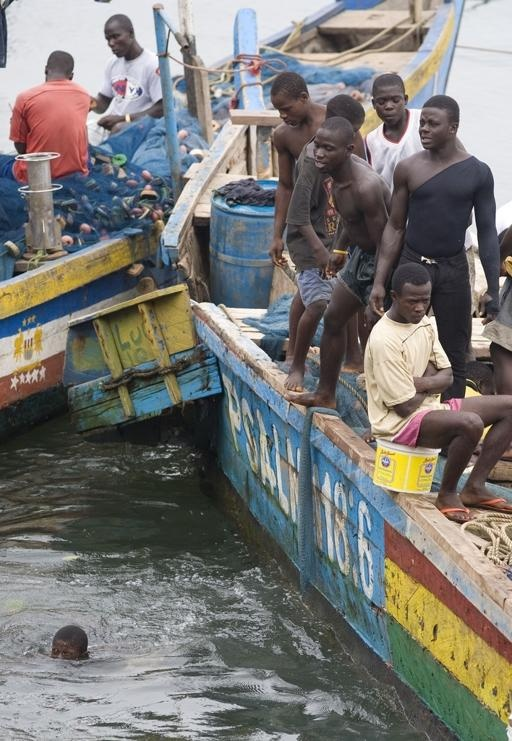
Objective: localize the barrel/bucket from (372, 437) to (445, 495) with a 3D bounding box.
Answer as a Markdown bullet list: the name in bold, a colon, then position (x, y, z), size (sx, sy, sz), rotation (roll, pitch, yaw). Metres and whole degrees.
- **barrel/bucket**: position (0.611, 0.417, 4.219), size (0.252, 0.200, 0.253), rotation (10, -3, 1)

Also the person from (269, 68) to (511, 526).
- **person**: position (0.804, -0.345, 4.480), size (0.769, 1.700, 1.493), rotation (0, 21, 4)

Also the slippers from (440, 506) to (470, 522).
- **slippers**: position (0.826, 0.593, 4.086), size (0.065, 0.024, 0.113), rotation (-2, 1, -32)

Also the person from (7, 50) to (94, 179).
- **person**: position (-1.767, -2.127, 8.365), size (0.663, 1.054, 0.924), rotation (1, 21, 8)
